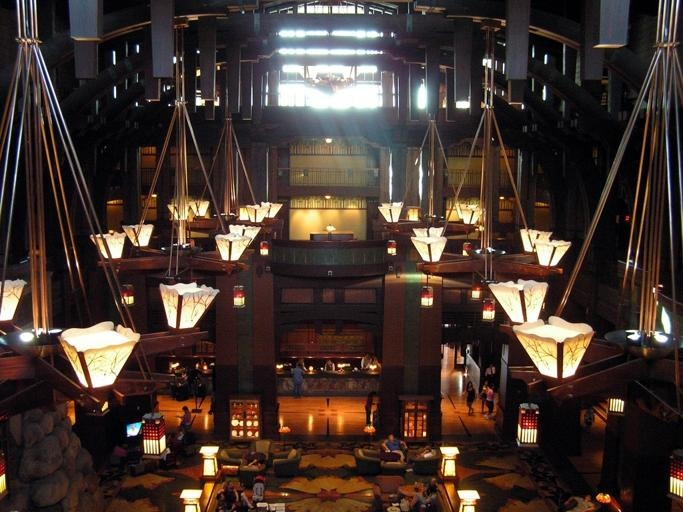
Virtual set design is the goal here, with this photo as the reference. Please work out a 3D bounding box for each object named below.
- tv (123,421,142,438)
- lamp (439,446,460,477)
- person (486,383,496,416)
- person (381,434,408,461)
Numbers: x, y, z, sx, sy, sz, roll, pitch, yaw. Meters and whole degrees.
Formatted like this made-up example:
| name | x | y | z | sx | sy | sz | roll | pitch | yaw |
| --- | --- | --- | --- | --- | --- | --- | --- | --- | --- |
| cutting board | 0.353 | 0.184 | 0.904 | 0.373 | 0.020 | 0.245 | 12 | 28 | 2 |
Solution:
| name | x | y | z | sx | sy | sz | roll | pitch | yaw |
| --- | --- | --- | --- | --- | --- | --- | --- | --- | --- |
| tv | -5.597 | 4.673 | 20.131 | 0.456 | 0.377 | 0.057 | 1 | 0 | -8 |
| lamp | 2.574 | 4.943 | 18.118 | 0.608 | 0.867 | 0.661 | 0 | -4 | 7 |
| person | 4.612 | 4.432 | 23.196 | 0.286 | 0.961 | 1.342 | 2 | 10 | 12 |
| person | 1.432 | 5.066 | 19.817 | 0.487 | 0.773 | 0.587 | 2 | -17 | -10 |
